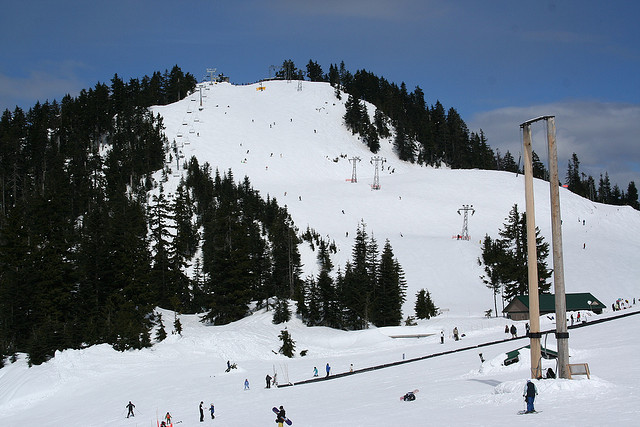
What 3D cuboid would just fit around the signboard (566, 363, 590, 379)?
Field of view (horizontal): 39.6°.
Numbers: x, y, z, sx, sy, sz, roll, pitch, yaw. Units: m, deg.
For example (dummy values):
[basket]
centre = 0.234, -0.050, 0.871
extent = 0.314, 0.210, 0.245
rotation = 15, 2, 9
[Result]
[signboard]
centre = 28.313, 17.462, 98.297
extent = 1.866, 2.466, 1.871
rotation = -2, -3, 20
